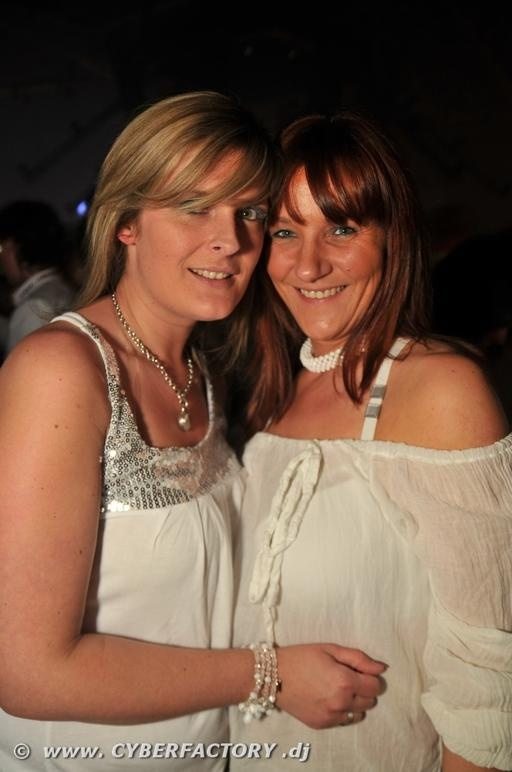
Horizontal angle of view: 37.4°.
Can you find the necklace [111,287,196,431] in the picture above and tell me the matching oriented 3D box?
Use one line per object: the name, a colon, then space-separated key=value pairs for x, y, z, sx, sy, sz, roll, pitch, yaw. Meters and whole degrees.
necklace: x=-0.233 y=-0.061 z=1.848 sx=0.038 sy=0.319 sz=0.208 roll=-30 pitch=-12 yaw=25
